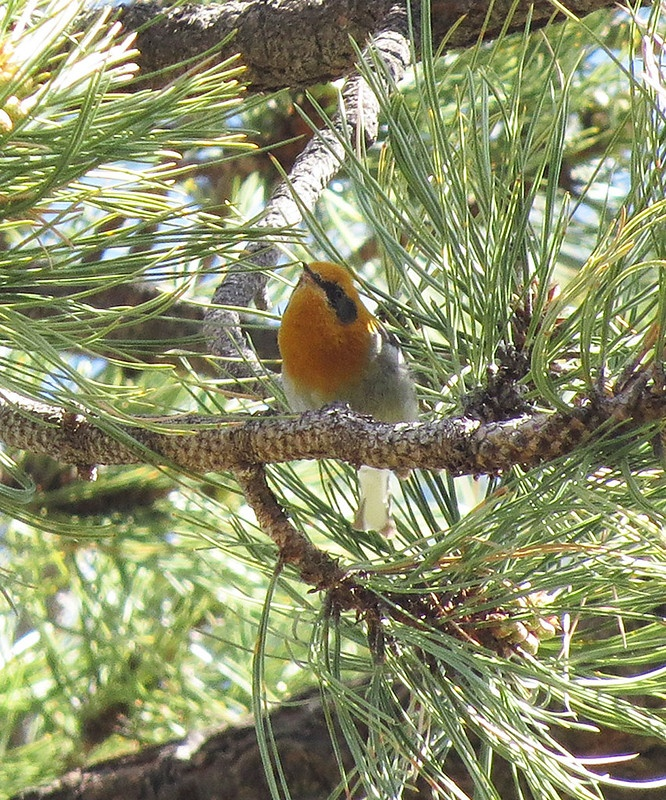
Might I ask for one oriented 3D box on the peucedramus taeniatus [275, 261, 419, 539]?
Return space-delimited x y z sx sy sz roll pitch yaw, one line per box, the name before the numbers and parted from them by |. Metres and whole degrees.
peucedramus taeniatus | 0.081 0.018 2.374 0.213 0.583 0.244 -1 40 27
